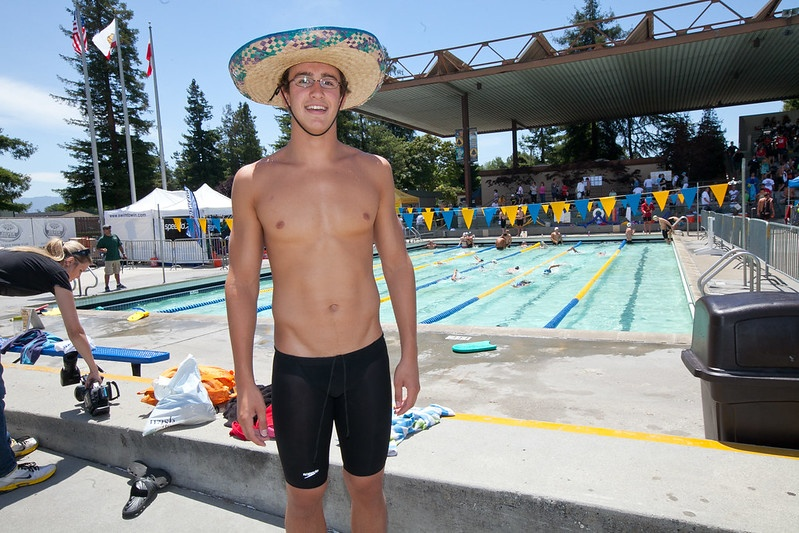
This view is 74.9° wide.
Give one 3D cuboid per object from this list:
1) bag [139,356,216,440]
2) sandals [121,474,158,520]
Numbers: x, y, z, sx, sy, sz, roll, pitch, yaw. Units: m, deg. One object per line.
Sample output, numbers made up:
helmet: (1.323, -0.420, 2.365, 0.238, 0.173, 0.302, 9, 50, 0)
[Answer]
bag: (-1.671, 1.014, 4.057, 0.464, 0.472, 0.217, -8, -28, -18)
sandals: (-1.739, 1.531, 3.503, 0.102, 0.092, 0.282, 4, 19, 1)
